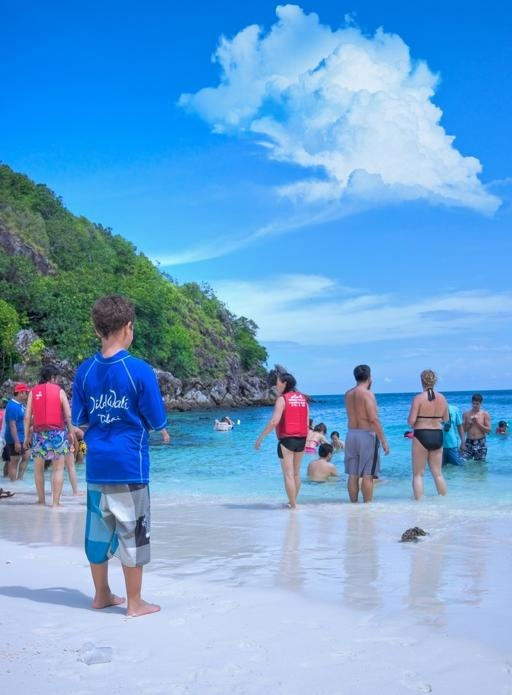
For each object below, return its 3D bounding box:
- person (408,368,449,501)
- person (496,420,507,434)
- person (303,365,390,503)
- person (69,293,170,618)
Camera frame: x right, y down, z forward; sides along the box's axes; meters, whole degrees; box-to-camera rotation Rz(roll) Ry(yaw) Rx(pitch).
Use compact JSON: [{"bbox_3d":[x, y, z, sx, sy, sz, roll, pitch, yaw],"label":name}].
[{"bbox_3d":[2.406,1.237,9.327,0.556,1.821,0.987,-2,-3,15],"label":"person"},{"bbox_3d":[7.196,2.353,19.673,0.276,0.423,0.985,-2,-3,19],"label":"person"},{"bbox_3d":[1.456,1.181,8.970,0.548,1.869,0.889,-2,-3,7],"label":"person"},{"bbox_3d":[-0.839,0.629,4.026,0.586,1.893,0.329,-3,-4,28],"label":"person"}]
